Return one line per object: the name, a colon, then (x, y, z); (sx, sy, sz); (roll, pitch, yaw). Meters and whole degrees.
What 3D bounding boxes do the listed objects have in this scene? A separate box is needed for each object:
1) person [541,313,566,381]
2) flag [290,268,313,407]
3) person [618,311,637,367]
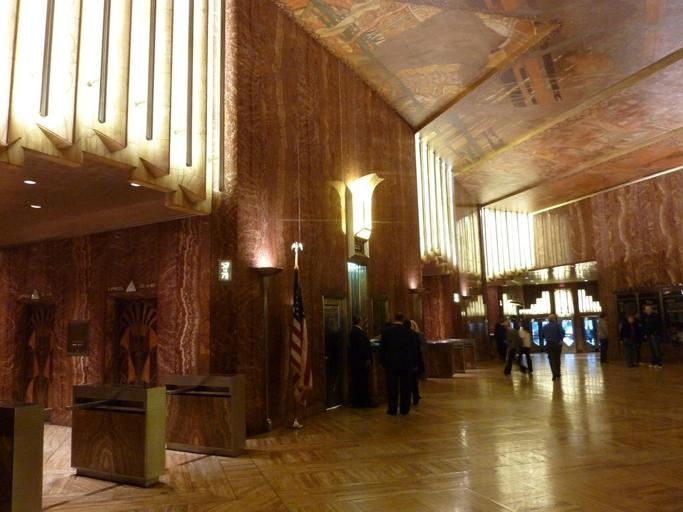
person: (5.676, 2.397, 13.493); (0.455, 1.701, 1.526); (-5, -6, 22)
flag: (-0.714, 1.325, 8.512); (0.348, 2.296, 0.451); (-2, -6, -6)
person: (9.047, 2.647, 15.868); (0.472, 1.543, 1.296); (-6, -7, 31)
